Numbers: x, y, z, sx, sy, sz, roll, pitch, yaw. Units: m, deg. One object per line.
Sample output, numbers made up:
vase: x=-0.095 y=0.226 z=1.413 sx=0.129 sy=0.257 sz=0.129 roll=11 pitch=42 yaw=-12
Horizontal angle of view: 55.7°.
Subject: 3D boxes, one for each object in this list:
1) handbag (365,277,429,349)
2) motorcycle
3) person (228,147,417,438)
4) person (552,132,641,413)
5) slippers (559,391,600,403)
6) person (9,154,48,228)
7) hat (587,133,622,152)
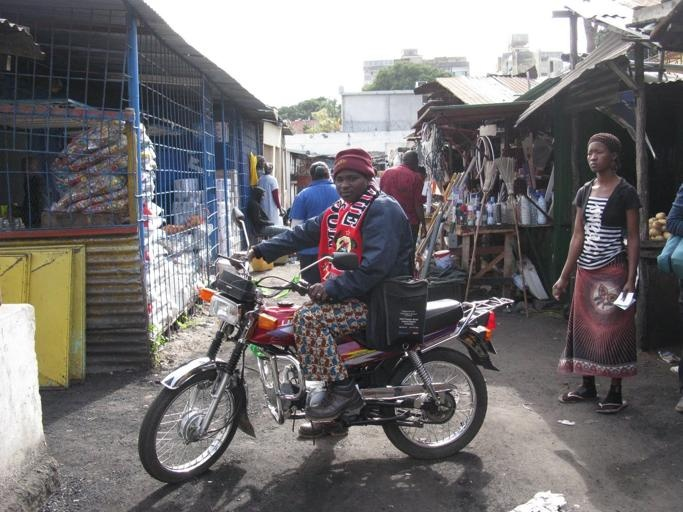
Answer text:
handbag: x=0.379 y=0.404 z=4.615 sx=0.419 sy=0.515 sz=0.259 roll=-1 pitch=8 yaw=-14
motorcycle: x=-0.160 y=0.776 z=5.555 sx=2.769 sy=2.087 sz=1.435 roll=-2 pitch=1 yaw=-11
person: x=0.058 y=0.184 z=4.715 sx=0.895 sy=1.895 sz=0.533 roll=-10 pitch=15 yaw=-42
person: x=2.288 y=0.138 z=5.698 sx=0.459 sy=2.365 sz=0.680 roll=-11 pitch=15 yaw=-44
slippers: x=2.172 y=1.282 z=5.897 sx=0.329 sy=0.102 sz=0.137 roll=2 pitch=-3 yaw=-1
person: x=-3.668 y=-0.739 z=7.578 sx=0.363 sy=0.853 sz=1.606 roll=-6 pitch=12 yaw=-25
hat: x=2.324 y=-0.980 z=5.666 sx=0.289 sy=0.167 sz=0.183 roll=-11 pitch=15 yaw=-43
